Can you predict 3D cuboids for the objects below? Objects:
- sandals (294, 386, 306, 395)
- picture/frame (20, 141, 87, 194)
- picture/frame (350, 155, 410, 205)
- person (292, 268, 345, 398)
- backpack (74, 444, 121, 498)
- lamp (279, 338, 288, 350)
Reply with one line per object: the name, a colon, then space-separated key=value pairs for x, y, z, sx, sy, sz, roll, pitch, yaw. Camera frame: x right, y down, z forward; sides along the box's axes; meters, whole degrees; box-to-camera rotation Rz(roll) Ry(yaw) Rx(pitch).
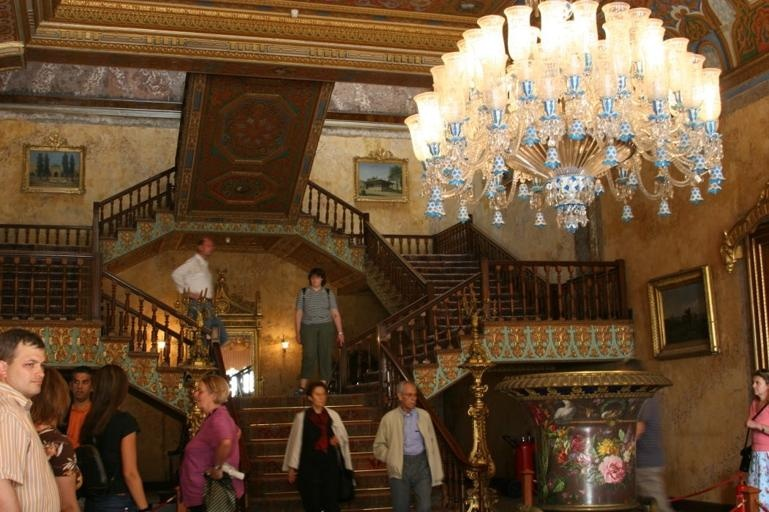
sandals: x=-1.253 y=2.013 z=12.987 sx=0.115 sy=0.119 sz=0.279 roll=3 pitch=-16 yaw=4
picture/frame: x=-7.173 y=-1.861 z=18.769 sx=1.093 sy=0.987 sz=0.154 roll=1 pitch=-10 yaw=-17
picture/frame: x=-0.173 y=-1.751 z=20.640 sx=1.264 sy=0.994 sz=0.106 roll=1 pitch=-4 yaw=-10
person: x=-0.945 y=1.014 z=12.754 sx=0.671 sy=1.777 sz=1.080 roll=0 pitch=-12 yaw=-3
backpack: x=-2.397 y=1.789 z=7.280 sx=0.256 sy=0.495 sz=0.355 roll=-17 pitch=2 yaw=-44
lamp: x=-2.213 y=1.944 z=19.388 sx=0.196 sy=0.162 sz=0.196 roll=3 pitch=-9 yaw=-37
